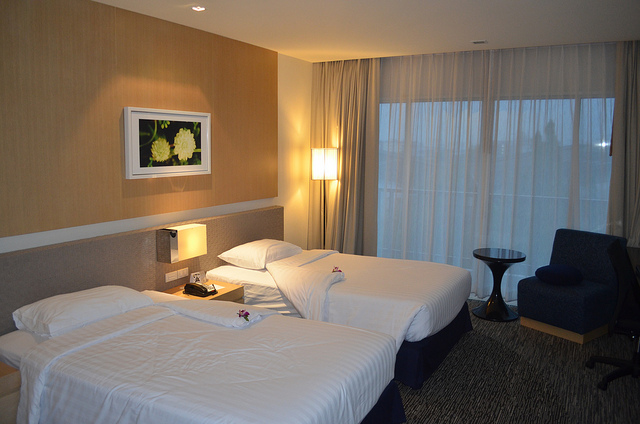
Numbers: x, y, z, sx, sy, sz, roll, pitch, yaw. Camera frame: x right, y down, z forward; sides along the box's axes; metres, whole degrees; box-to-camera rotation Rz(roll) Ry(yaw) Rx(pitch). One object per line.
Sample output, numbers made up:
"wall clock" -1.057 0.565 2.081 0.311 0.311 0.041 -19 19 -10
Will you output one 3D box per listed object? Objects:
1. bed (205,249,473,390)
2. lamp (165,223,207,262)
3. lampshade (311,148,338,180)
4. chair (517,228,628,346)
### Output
"bed" 0.348 0.961 4.957 2.055 0.657 1.703 4 8 30
"lamp" -1.538 0.383 5.147 0.504 0.433 0.172 -18 -11 15
"lampshade" 0.072 -0.786 7.142 0.473 0.540 0.261 -4 11 0
"chair" 3.282 0.915 5.568 1.308 1.075 1.339 -3 8 20
